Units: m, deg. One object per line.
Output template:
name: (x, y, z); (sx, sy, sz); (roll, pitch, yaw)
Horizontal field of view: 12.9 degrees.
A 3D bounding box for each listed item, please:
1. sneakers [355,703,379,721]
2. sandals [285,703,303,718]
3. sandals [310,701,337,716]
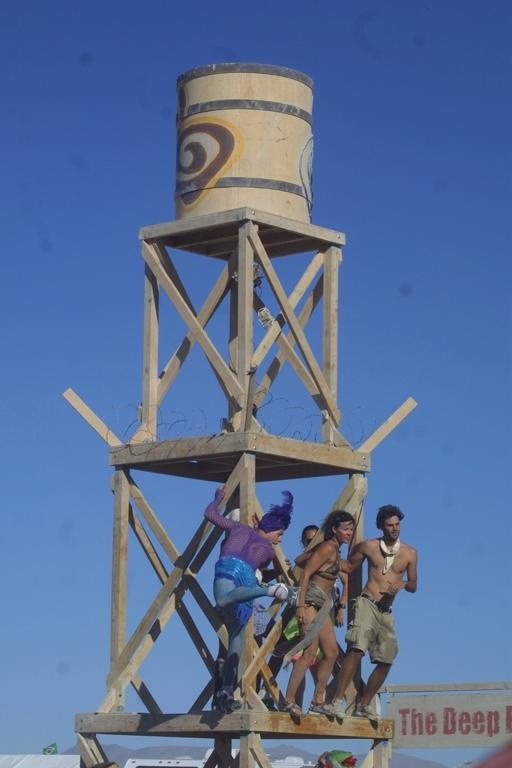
sneakers: (1.066, 3.072, 21.115); (0.286, 0.153, 0.107); (4, -1, 9)
sandals: (0.345, 2.905, 20.105); (0.173, 0.080, 0.073); (34, 15, 32)
sandals: (0.633, 2.947, 20.546); (0.261, 0.143, 0.107); (4, -2, -12)
